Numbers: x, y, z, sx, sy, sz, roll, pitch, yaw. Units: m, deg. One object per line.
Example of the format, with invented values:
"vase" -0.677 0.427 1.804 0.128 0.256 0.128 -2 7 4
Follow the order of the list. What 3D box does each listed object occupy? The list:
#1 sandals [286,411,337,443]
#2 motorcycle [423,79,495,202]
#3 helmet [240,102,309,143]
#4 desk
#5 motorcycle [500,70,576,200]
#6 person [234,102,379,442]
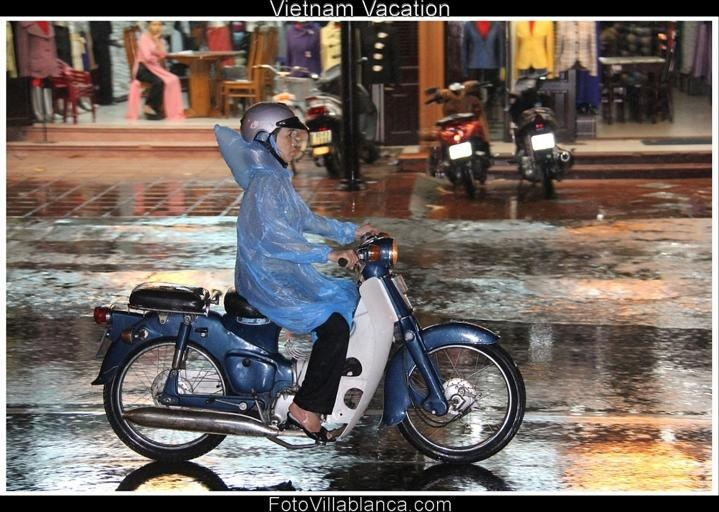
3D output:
"sandals" -0.299 1.134 4.893 0.437 0.105 0.138 24 4 -11
"motorcycle" 1.698 -2.028 12.937 1.075 2.008 1.185 -3 10 6
"helmet" -0.499 -0.866 4.857 0.500 0.178 0.281 2 20 15
"desk" -3.596 -3.803 16.960 2.068 1.283 1.943 12 17 41
"motorcycle" 3.080 -2.106 12.930 1.005 2.170 1.426 -3 10 9
"person" -0.334 0.105 4.843 0.809 2.214 0.606 6 16 42
